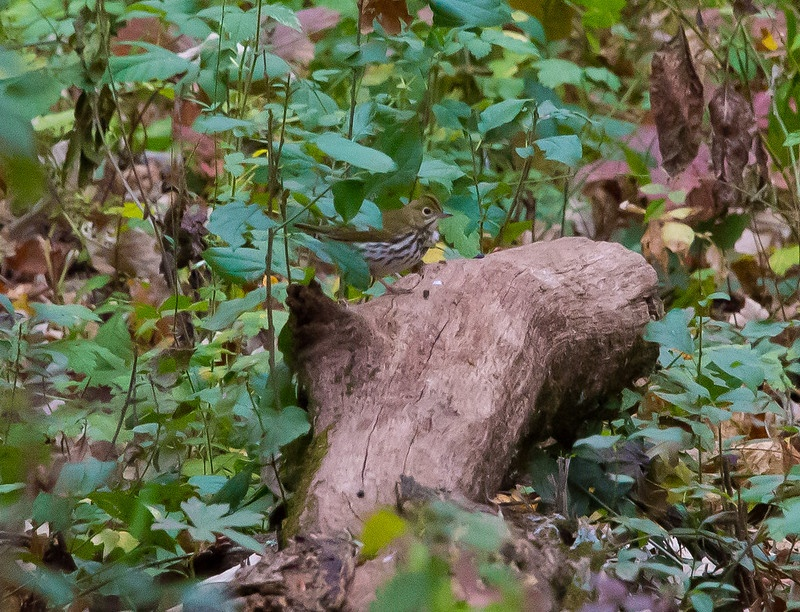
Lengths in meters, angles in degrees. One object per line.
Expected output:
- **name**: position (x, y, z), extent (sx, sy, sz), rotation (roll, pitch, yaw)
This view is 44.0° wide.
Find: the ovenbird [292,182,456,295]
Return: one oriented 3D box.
- **ovenbird**: position (-0.133, -0.354, 5.092), extent (0.899, 0.536, 0.377), rotation (9, 4, -18)
